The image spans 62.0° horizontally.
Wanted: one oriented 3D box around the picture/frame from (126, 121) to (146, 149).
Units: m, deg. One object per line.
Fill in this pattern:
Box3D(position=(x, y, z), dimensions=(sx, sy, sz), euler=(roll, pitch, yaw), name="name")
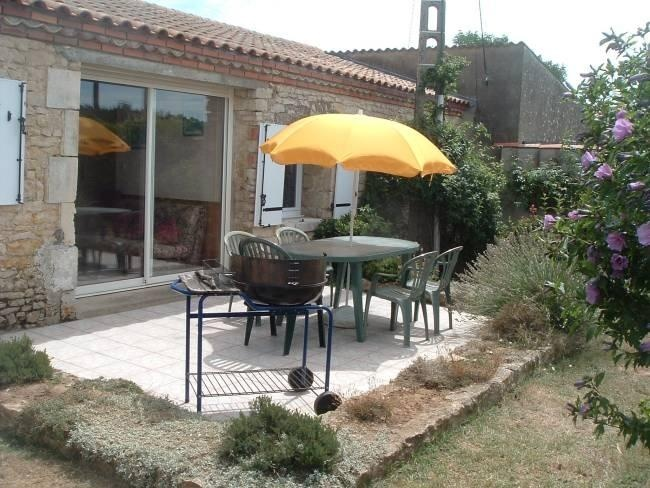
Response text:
Box3D(position=(-2.440, -1.411, 6.982), dimensions=(0.307, 0.174, 0.305), euler=(0, 1, -16), name="picture/frame")
